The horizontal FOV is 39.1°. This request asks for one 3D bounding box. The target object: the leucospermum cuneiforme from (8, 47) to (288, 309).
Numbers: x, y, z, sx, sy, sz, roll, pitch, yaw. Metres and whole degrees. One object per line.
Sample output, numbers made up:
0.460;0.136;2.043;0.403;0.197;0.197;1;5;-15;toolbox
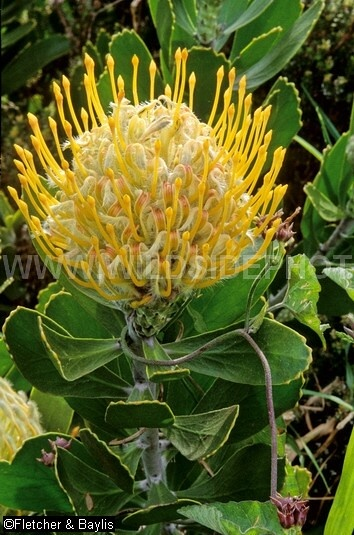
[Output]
-0.021;-0.063;0.523;0.267;0.244;0.248;-1;42;0;leucospermum cuneiforme
